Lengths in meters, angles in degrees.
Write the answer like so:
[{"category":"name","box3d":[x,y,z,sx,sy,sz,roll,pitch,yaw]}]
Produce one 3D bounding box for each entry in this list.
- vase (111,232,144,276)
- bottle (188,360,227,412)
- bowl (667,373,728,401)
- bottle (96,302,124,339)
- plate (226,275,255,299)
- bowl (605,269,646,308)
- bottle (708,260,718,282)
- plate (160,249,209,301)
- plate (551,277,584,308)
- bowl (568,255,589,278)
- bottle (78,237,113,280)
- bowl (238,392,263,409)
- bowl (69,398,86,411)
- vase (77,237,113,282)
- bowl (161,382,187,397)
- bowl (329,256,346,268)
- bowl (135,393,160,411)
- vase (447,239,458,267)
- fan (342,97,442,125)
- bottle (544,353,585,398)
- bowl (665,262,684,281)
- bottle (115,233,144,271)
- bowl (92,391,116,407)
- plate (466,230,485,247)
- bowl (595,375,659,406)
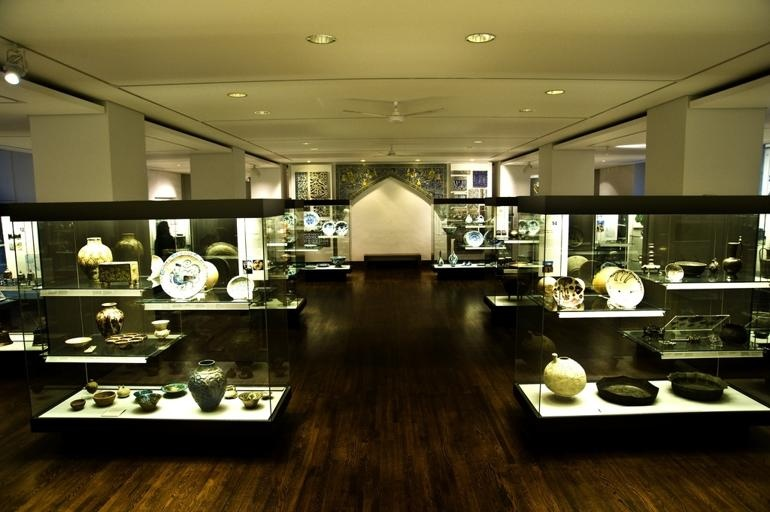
[{"category":"vase","box3d":[-2.441,-0.025,5.074,0.263,0.343,0.243,0,2,23]},{"category":"bottle","box3d":[-1.582,1.169,4.783,0.363,0.394,0.353,-3,4,-37]},{"category":"bowl","box3d":[2.836,1.184,4.817,0.458,0.219,0.238,-1,5,15]},{"category":"bottle","box3d":[-2.584,0.604,4.966,0.268,0.282,0.253,2,7,-19]},{"category":"plate","box3d":[-1.275,0.280,4.669,0.299,0.217,0.077,0,7,32]},{"category":"bowl","box3d":[2.204,0.294,4.890,0.328,0.325,0.167,-2,6,15]},{"category":"bottle","box3d":[3.013,0.125,4.881,0.089,0.200,0.136,0,6,31]},{"category":"plate","box3d":[-1.825,0.169,4.815,0.409,0.416,0.119,-2,6,8]},{"category":"plate","box3d":[1.641,0.326,4.774,0.292,0.279,0.071,-4,7,-28]},{"category":"bowl","box3d":[1.718,0.077,4.735,0.214,0.196,0.142,-5,29,24]},{"category":"bottle","box3d":[-2.768,0.034,4.964,0.367,0.383,0.345,3,4,-27]},{"category":"bowl","box3d":[-1.186,1.279,4.761,0.178,0.069,0.144,1,1,6]},{"category":"bowl","box3d":[-2.744,1.332,4.775,0.102,0.047,0.101,-1,7,0]},{"category":"vase","box3d":[-2.752,0.036,4.965,0.348,0.361,0.328,-1,5,-21]},{"category":"bowl","box3d":[-1.963,1.255,4.974,0.217,0.089,0.175,-4,5,-12]},{"category":"bowl","box3d":[-1.025,0.140,11.703,0.283,0.166,0.265,0,-3,0]},{"category":"bowl","box3d":[-2.115,1.299,4.773,0.190,0.160,0.145,-5,5,-23]},{"category":"vase","box3d":[1.431,-0.070,11.241,0.239,0.587,0.161,-3,6,5]},{"category":"fan","box3d":[0.026,-1.908,6.875,0.762,0.162,0.653,3,10,20]},{"category":"bottle","box3d":[1.585,1.082,4.833,0.414,0.369,0.411,5,2,24]},{"category":"bowl","box3d":[2.692,0.158,4.971,0.170,0.170,0.073,-3,15,-7]},{"category":"bottle","box3d":[-2.445,-0.061,5.069,0.256,0.281,0.250,9,10,28]},{"category":"bowl","box3d":[-2.538,1.297,4.823,0.168,0.117,0.101,-3,5,1]},{"category":"plate","box3d":[1.838,-0.339,10.925,0.141,0.362,0.397,-8,7,-39]},{"category":"bowl","box3d":[2.199,1.224,4.850,0.513,0.157,0.434,-1,5,16]}]
